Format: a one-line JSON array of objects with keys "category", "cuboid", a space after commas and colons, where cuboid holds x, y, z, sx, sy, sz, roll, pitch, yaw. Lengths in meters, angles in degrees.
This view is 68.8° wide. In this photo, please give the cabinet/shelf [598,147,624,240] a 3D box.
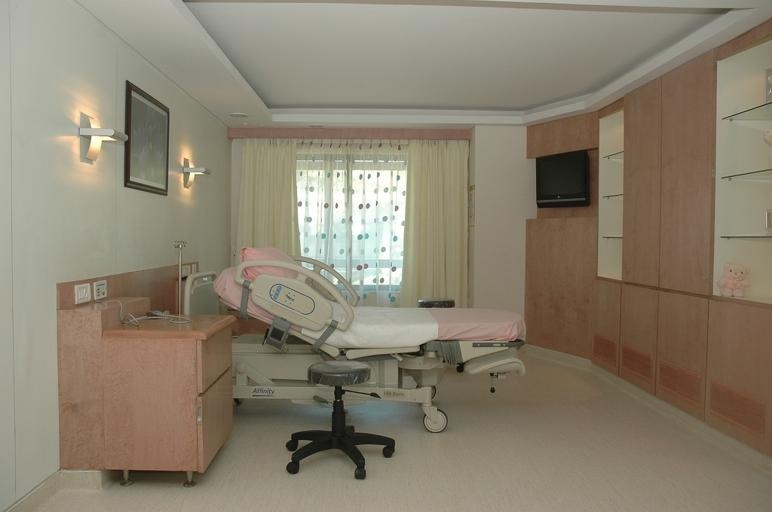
[{"category": "cabinet/shelf", "cuboid": [2.555, -0.684, 6.372, 0.149, 0.961, 0.580, 1, 13, 2]}]

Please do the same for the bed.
[{"category": "bed", "cuboid": [-0.296, 0.661, 5.554, 2.842, 1.591, 1.551, 0, 2, -4]}]

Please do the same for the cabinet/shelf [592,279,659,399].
[{"category": "cabinet/shelf", "cuboid": [2.559, 0.888, 5.960, 0.416, 1.106, 1.206, 1, 0, 1]}]

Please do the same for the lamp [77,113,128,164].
[{"category": "lamp", "cuboid": [-2.262, -0.883, 4.650, 0.330, 0.481, 0.478, 2, 2, -5]}]

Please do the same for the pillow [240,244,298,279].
[{"category": "pillow", "cuboid": [-1.046, 0.038, 5.000, 0.367, 0.112, 0.325, 2, 34, -43]}]

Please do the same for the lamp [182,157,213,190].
[{"category": "lamp", "cuboid": [-2.032, -0.908, 6.129, 0.262, 0.328, 0.440, -1, 13, -7]}]

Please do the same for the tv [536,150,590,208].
[{"category": "tv", "cuboid": [2.156, -0.926, 6.775, 0.720, 0.705, 0.238, -1, -1, 41]}]

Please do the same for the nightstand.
[{"category": "nightstand", "cuboid": [-1.723, 1.083, 4.446, 0.855, 1.109, 0.618, 0, 13, 1]}]

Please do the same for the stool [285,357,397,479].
[{"category": "stool", "cuboid": [-0.396, 1.312, 4.791, 0.863, 0.783, 0.857, 2, -2, -17]}]
